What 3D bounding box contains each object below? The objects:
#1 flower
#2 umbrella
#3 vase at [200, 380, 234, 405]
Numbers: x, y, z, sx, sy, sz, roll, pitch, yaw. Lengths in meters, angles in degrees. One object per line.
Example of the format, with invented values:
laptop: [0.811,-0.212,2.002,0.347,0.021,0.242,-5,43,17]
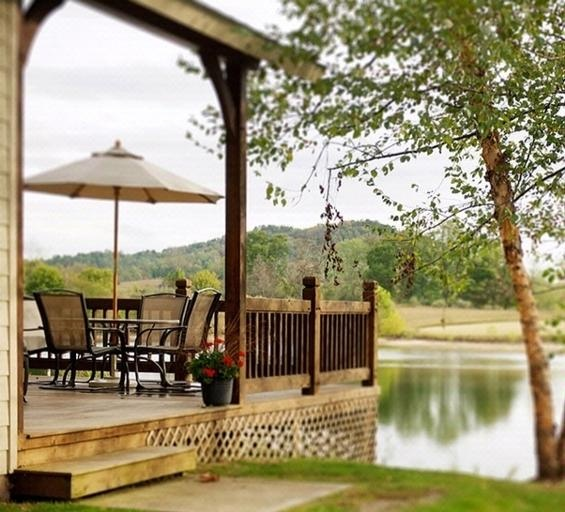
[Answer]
flower: [-0.614,0.867,9.483,0.490,0.447,0.564,-1,4,-4]
umbrella: [-1.744,0.045,11.071,1.657,2.335,2.035,3,-4,10]
vase: [-0.568,1.230,9.147,0.223,0.206,0.208,-9,-12,39]
